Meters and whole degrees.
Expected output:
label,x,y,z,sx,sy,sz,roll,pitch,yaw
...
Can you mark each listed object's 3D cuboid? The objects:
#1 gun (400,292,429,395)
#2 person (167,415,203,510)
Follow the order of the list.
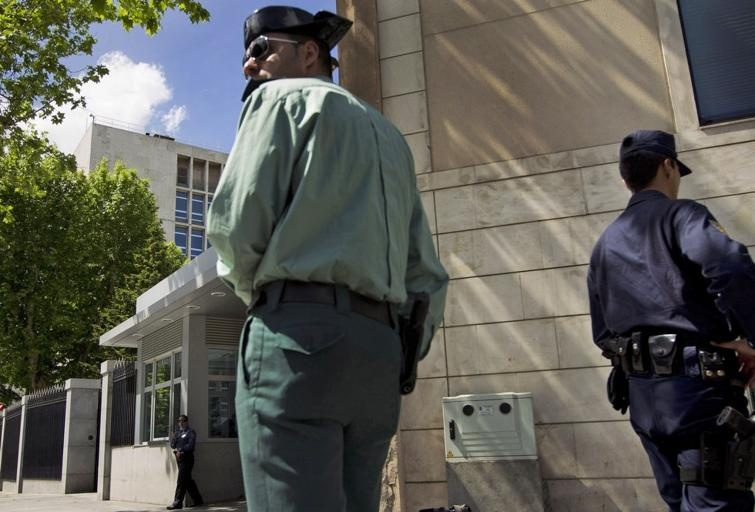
label,x,y,z,sx,sy,sz,roll,pitch,yaw
gun,0.486,1.163,15.219,0.334,1.213,0.359,0,-2,7
person,-4.213,4.586,25.674,0.594,2.124,0.759,-5,-21,7
